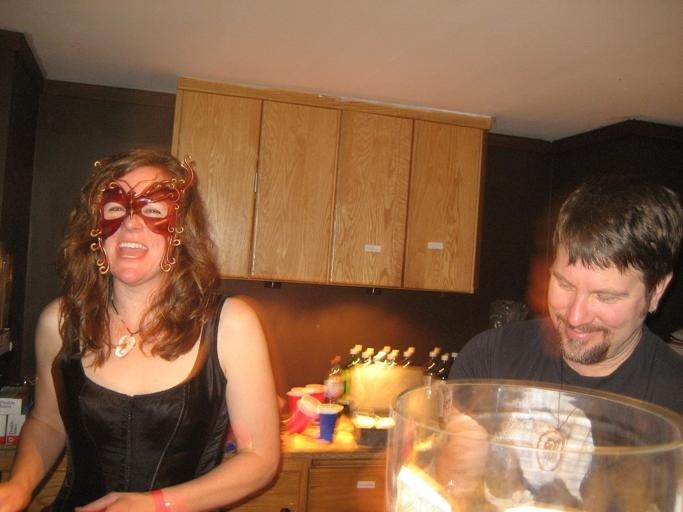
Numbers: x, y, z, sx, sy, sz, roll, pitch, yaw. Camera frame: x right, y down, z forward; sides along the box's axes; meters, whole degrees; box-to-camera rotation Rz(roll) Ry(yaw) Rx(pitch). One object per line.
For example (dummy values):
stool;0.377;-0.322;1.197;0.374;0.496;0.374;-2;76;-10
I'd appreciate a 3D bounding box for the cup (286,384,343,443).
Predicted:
cup;-0.144;0.834;3.232;0.270;0.262;0.205;-2;8;-9

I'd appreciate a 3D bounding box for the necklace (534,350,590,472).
necklace;0.482;0.384;1.344;0.113;0.166;0.034;-10;-34;32

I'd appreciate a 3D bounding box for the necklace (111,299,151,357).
necklace;-0.745;0.260;2.087;0.057;0.160;0.046;-15;13;31
